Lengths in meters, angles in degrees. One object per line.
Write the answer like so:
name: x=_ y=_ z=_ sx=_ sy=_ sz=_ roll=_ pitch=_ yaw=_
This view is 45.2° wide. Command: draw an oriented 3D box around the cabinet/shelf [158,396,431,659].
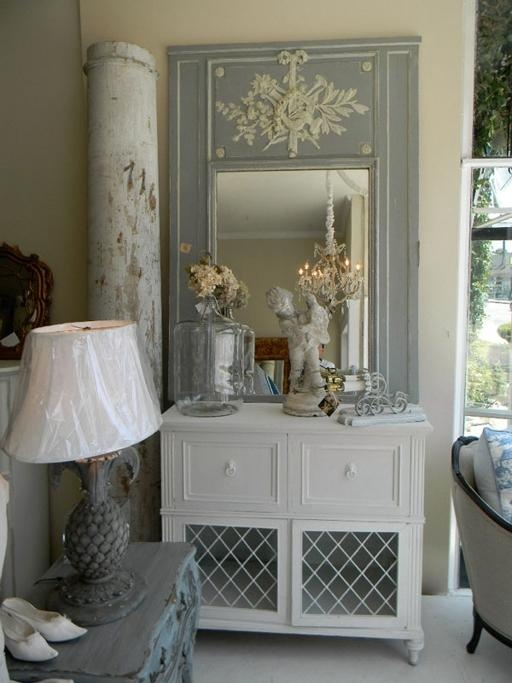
cabinet/shelf: x=0.144 y=0.687 z=2.293 sx=1.035 sy=0.959 sz=0.391 roll=0 pitch=0 yaw=4

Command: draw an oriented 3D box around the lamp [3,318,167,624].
lamp: x=-0.430 y=0.320 z=1.627 sx=0.342 sy=0.732 sz=0.415 roll=-1 pitch=10 yaw=-2
